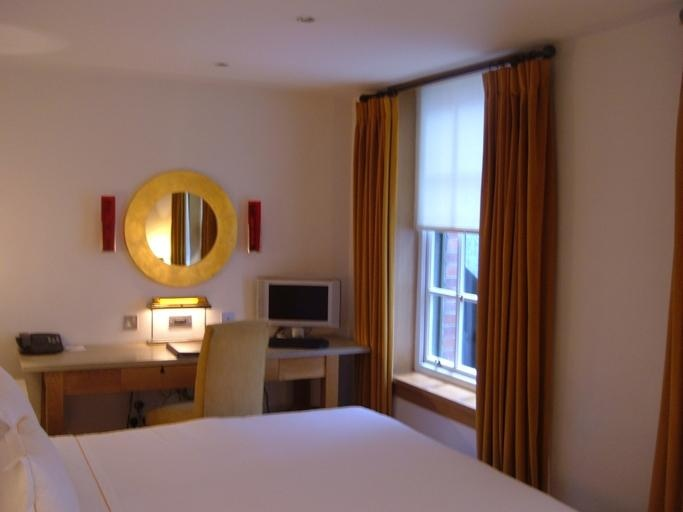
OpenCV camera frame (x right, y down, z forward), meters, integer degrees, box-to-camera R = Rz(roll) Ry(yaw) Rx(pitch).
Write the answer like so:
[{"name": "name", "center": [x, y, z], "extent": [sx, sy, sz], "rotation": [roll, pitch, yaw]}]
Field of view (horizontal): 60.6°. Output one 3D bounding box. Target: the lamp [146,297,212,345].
[{"name": "lamp", "center": [-1.251, 0.503, 4.447], "extent": [0.477, 0.405, 0.291], "rotation": [1, 0, -22]}]
